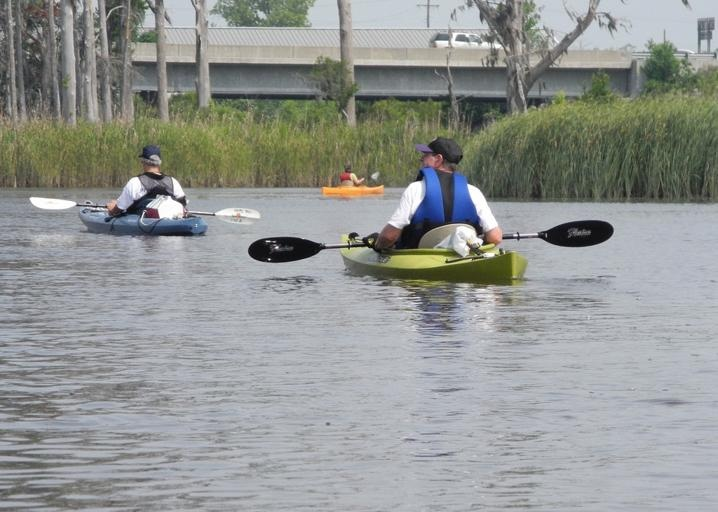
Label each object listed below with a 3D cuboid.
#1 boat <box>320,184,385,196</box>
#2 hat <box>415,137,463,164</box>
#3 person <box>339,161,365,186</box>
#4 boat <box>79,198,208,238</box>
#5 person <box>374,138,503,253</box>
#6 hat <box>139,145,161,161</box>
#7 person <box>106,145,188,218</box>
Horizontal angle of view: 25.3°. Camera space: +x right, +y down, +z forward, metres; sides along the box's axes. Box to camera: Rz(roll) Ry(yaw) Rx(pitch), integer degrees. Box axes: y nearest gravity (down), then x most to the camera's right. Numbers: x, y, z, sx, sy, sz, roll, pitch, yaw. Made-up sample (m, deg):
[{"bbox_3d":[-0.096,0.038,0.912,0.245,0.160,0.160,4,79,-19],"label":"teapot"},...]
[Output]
[{"bbox_3d":[0.004,-1.580,38.870,0.501,0.203,1.522,3,5,40],"label":"boat"},{"bbox_3d":[1.085,-1.443,21.309,0.568,0.261,0.338,12,10,10],"label":"hat"},{"bbox_3d":[-0.190,-1.965,39.063,0.442,0.413,0.805,2,8,13],"label":"person"},{"bbox_3d":[-3.979,-0.595,26.923,0.785,0.410,2.353,-5,7,-43],"label":"boat"},{"bbox_3d":[1.055,-0.824,21.362,1.642,1.529,0.593,0,7,0],"label":"person"},{"bbox_3d":[-3.367,-1.678,25.988,0.369,0.255,0.533,0,9,-17],"label":"hat"},{"bbox_3d":[-3.475,-1.240,26.163,1.272,1.182,0.831,-1,7,-6],"label":"person"}]
